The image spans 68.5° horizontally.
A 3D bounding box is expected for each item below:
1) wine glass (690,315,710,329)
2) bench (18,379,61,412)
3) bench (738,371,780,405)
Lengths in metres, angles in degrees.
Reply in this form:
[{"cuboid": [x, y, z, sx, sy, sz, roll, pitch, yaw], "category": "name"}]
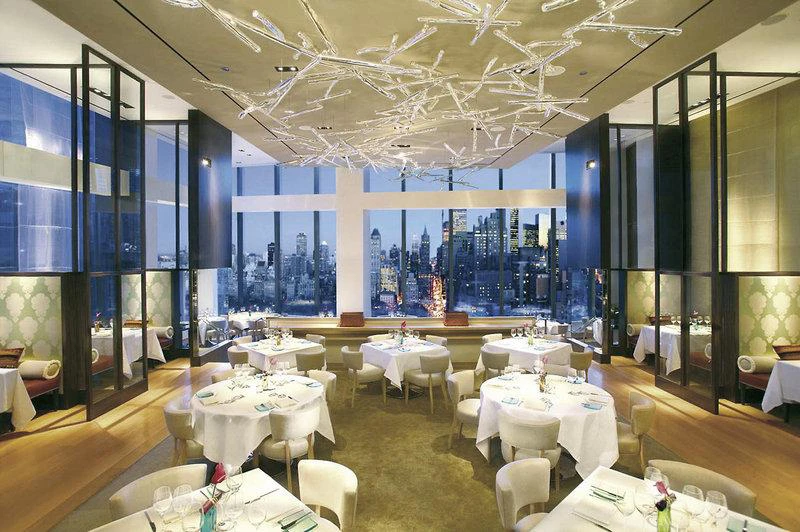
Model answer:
[{"cuboid": [5.443, 0.999, 10.657, 0.231, 0.255, 0.231, 0, -4, 8], "category": "wine glass"}, {"cuboid": [-6.262, 2.213, 10.232, 0.782, 0.374, 0.507, -1, -3, 35], "category": "bench"}, {"cuboid": [6.386, 2.124, 10.438, 0.504, 0.352, 0.770, -1, 1, 6], "category": "bench"}]
